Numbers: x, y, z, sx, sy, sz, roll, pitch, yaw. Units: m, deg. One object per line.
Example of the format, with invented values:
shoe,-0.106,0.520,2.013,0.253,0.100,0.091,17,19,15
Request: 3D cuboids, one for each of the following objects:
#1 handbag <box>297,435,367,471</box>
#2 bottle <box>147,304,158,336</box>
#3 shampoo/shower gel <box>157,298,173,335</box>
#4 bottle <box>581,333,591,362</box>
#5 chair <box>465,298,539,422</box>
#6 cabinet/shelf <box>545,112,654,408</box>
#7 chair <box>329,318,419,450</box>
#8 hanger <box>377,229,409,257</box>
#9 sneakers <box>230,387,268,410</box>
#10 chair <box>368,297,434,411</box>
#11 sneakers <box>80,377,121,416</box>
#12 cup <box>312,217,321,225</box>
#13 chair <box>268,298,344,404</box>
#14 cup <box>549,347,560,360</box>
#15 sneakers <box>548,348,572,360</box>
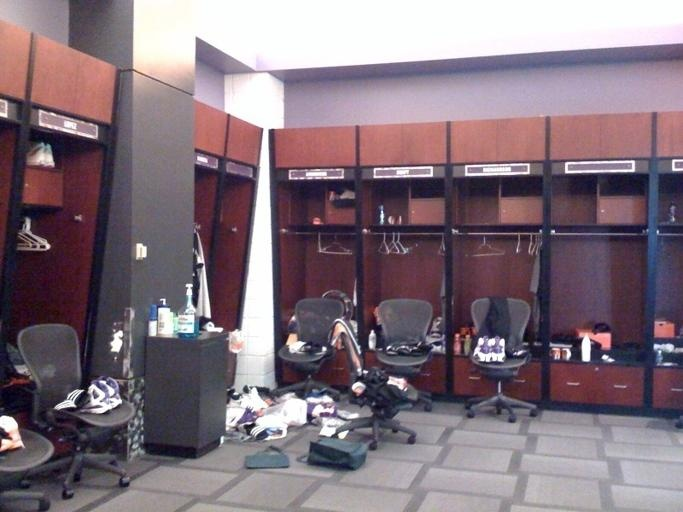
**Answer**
handbag,-0.042,1.680,4.810,0.303,0.129,0.304,1,1,17
bottle,-1.671,0.562,4.974,0.083,0.265,0.083,0,5,0
shampoo/shower gel,-1.581,0.540,5.040,0.136,0.310,0.256,-1,5,-15
bottle,2.715,1.003,6.233,0.107,0.266,0.297,2,5,23
chair,1.696,1.053,6.022,0.782,1.213,0.762,1,-2,-20
cabinet/shelf,2.901,0.039,6.268,1.121,3.149,0.835,3,5,25
chair,0.559,1.274,5.761,1.023,1.354,0.930,-2,-3,16
hanger,0.653,-0.187,7.083,0.311,0.223,0.044,6,24,19
sneakers,-0.976,1.530,5.972,0.242,0.108,0.251,6,1,29
chair,0.713,1.042,6.247,0.716,1.032,0.667,-5,7,-25
sneakers,-1.882,1.095,4.418,0.193,0.229,0.315,1,5,6
cup,-0.317,-0.439,7.118,0.100,0.102,0.103,0,-1,0
chair,-0.517,1.004,6.482,0.744,1.137,0.709,4,-9,-36
cup,2.385,1.095,6.265,0.103,0.122,0.106,0,-7,0
sneakers,2.446,1.088,6.272,0.144,0.093,0.149,0,-6,9
